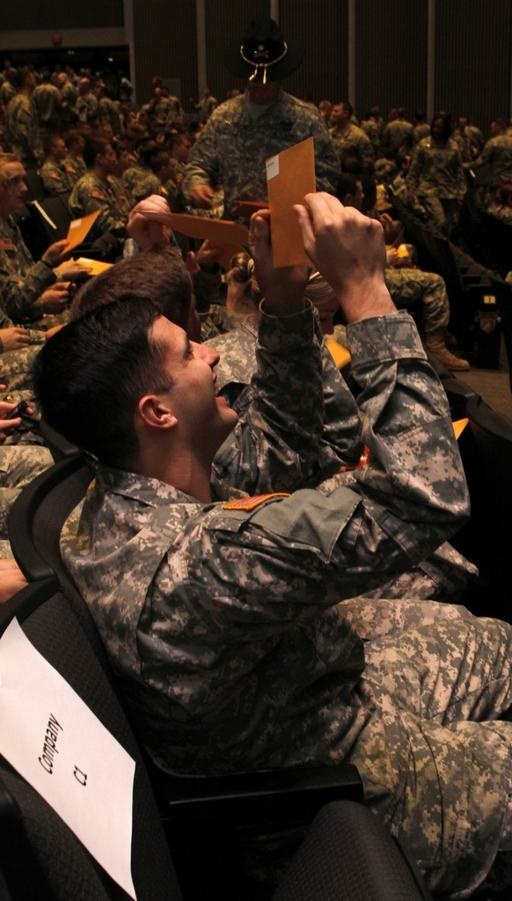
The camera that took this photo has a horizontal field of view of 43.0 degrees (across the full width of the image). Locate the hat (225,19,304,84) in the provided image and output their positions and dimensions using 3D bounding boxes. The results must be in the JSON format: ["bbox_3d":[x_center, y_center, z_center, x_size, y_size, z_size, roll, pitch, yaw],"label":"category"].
[{"bbox_3d":[0.023,-2.244,3.593,0.374,0.207,0.461,-2,13,3],"label":"hat"}]
